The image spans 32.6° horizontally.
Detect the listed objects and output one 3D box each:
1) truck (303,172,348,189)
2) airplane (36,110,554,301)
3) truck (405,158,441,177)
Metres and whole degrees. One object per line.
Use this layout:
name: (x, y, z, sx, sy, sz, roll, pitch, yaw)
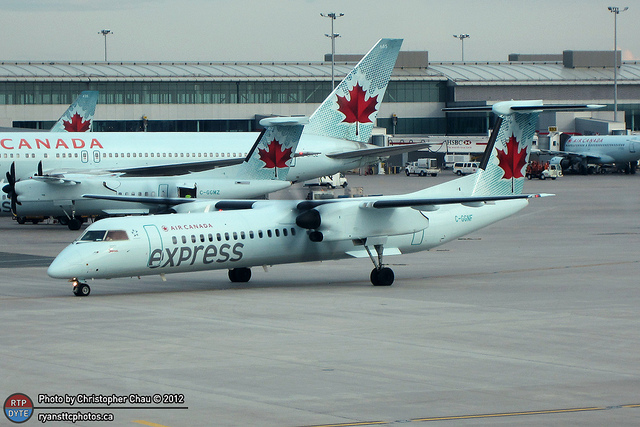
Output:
truck: (0.388, -2.965, 101.806, 3.695, 1.193, 1.886, -1, 7, 3)
airplane: (0.320, -0.202, 49.217, 23.169, 5.329, 22.421, -6, 12, -26)
truck: (11.809, -5.338, 125.079, 2.241, 1.260, 3.556, -3, 6, -42)
